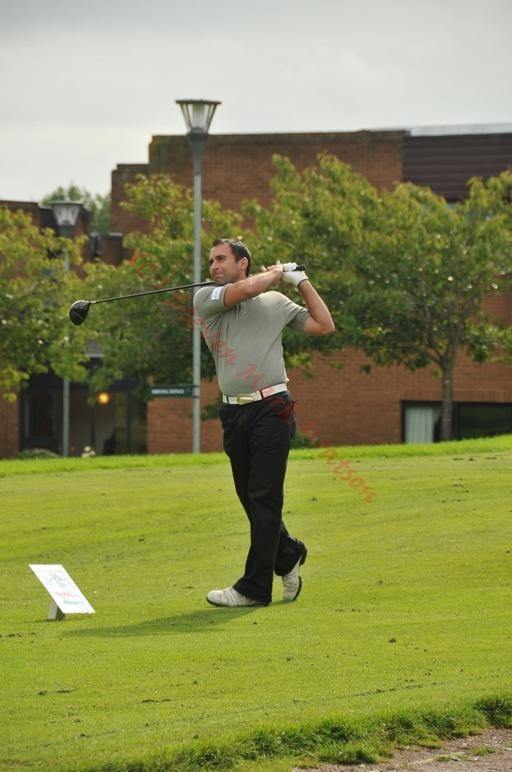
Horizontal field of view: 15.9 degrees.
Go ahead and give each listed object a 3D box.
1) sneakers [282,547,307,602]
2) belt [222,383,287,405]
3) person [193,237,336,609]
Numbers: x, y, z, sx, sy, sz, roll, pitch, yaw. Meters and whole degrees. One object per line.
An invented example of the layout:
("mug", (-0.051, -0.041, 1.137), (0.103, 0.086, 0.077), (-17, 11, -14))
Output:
("sneakers", (0.217, 1.122, 10.789), (0.146, 0.339, 0.110), (3, 5, -28))
("belt", (-0.010, 0.055, 10.657), (0.372, 0.125, 0.219), (0, 0, 1))
("person", (0.029, 0.207, 10.705), (0.752, 2.136, 0.440), (0, 0, -3))
